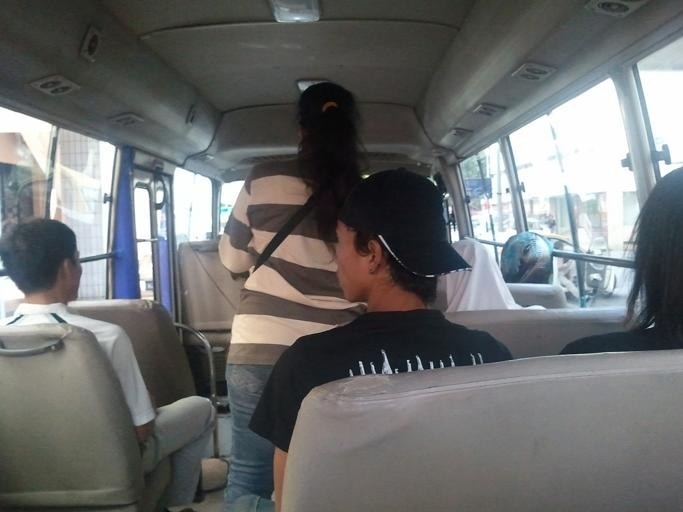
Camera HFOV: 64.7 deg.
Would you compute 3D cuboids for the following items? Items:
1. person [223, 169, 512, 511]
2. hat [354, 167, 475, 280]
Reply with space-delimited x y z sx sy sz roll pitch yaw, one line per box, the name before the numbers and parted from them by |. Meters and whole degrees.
person | 0.092 0.245 1.682 0.739 1.009 0.514 -9 10 -39
hat | 0.235 -0.135 1.847 0.514 0.279 0.335 26 18 37
